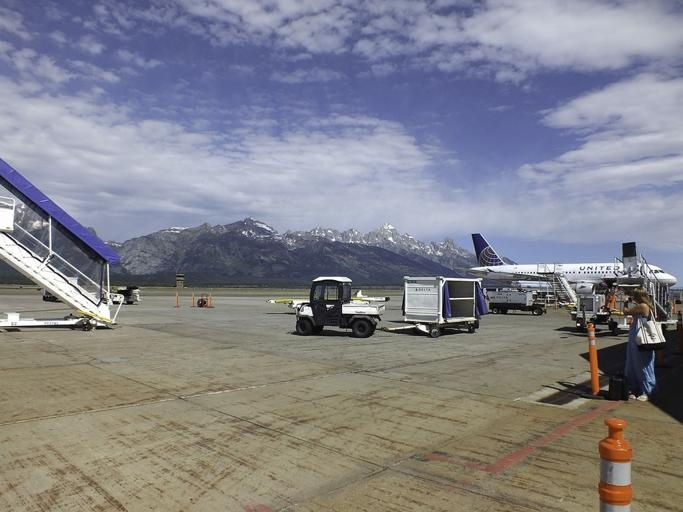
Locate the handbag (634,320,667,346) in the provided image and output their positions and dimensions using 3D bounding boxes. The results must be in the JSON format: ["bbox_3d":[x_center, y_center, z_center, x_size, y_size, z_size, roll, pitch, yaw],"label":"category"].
[{"bbox_3d":[7.205,1.817,10.202,0.684,0.663,0.315,4,-11,-12],"label":"handbag"}]

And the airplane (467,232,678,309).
[{"bbox_3d":[21.213,2.665,42.707,16.512,4.395,15.603,-2,1,20],"label":"airplane"}]

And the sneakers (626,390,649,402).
[{"bbox_3d":[6.880,3.330,10.370,0.543,0.181,0.201,1,-7,29],"label":"sneakers"}]

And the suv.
[{"bbox_3d":[0.017,2.489,21.229,4.377,1.913,2.289,1,6,17],"label":"suv"}]
